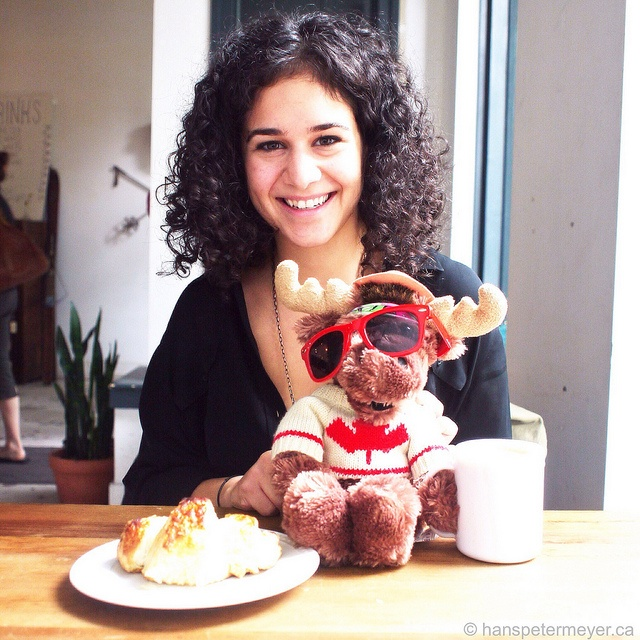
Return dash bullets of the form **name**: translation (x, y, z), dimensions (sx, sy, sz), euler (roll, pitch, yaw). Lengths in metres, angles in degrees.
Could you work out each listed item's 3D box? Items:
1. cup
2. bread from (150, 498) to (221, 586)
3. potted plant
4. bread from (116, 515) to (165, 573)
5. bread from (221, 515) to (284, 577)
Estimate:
- **cup**: translation (0.182, 0.192, 0.804), dimensions (0.080, 0.115, 0.109), euler (-2, 4, -19)
- **bread**: translation (-0.122, 0.203, 0.681), dimensions (0.048, 0.081, 0.022), euler (2, -15, -6)
- **potted plant**: translation (-0.705, 0.253, 2.179), dimensions (0.193, 0.572, 0.227), euler (-1, 8, -6)
- **bread**: translation (-0.170, 0.211, 0.704), dimensions (0.034, 0.054, 0.017), euler (-7, -37, 29)
- **bread**: translation (-0.063, 0.206, 0.688), dimensions (0.046, 0.054, 0.014), euler (22, -34, -14)
